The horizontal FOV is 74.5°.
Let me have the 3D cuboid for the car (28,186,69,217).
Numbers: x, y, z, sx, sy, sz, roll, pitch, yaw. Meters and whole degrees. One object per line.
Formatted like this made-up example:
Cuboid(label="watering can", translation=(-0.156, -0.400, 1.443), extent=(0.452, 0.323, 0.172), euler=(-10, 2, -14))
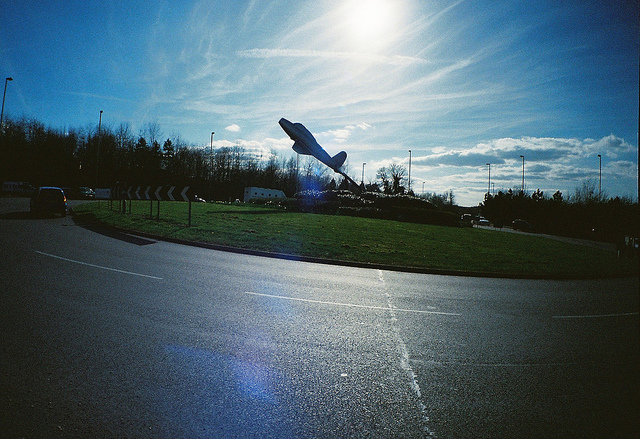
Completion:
Cuboid(label="car", translation=(-16.422, -1.046, 25.336), extent=(1.752, 1.654, 3.214), euler=(-1, 18, -38))
